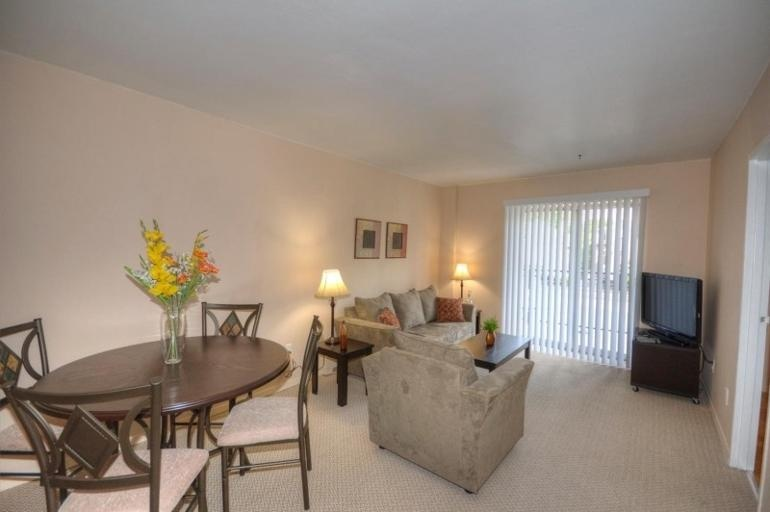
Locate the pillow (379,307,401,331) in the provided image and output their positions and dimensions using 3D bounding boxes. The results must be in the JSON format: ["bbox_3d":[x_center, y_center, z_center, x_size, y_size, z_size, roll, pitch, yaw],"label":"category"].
[{"bbox_3d":[0.045,0.764,6.829,0.237,0.222,0.583,0,0,-1],"label":"pillow"}]

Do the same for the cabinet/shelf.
[{"bbox_3d":[3.218,1.210,6.363,1.012,0.883,0.594,4,8,38],"label":"cabinet/shelf"}]

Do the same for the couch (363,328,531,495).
[{"bbox_3d":[0.581,1.143,5.277,1.489,1.386,1.400,2,6,39],"label":"couch"}]

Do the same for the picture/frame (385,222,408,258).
[{"bbox_3d":[0.152,-0.224,7.803,0.039,0.480,0.513,5,3,33],"label":"picture/frame"}]

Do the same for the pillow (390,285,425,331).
[{"bbox_3d":[0.293,0.732,7.306,0.198,0.393,0.543,-6,3,32],"label":"pillow"}]

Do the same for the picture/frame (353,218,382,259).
[{"bbox_3d":[-0.216,-0.231,7.240,0.043,0.531,0.536,-4,8,-42],"label":"picture/frame"}]

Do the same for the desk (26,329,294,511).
[{"bbox_3d":[-1.830,1.329,4.614,1.979,0.851,1.975,-4,7,-33],"label":"desk"}]
